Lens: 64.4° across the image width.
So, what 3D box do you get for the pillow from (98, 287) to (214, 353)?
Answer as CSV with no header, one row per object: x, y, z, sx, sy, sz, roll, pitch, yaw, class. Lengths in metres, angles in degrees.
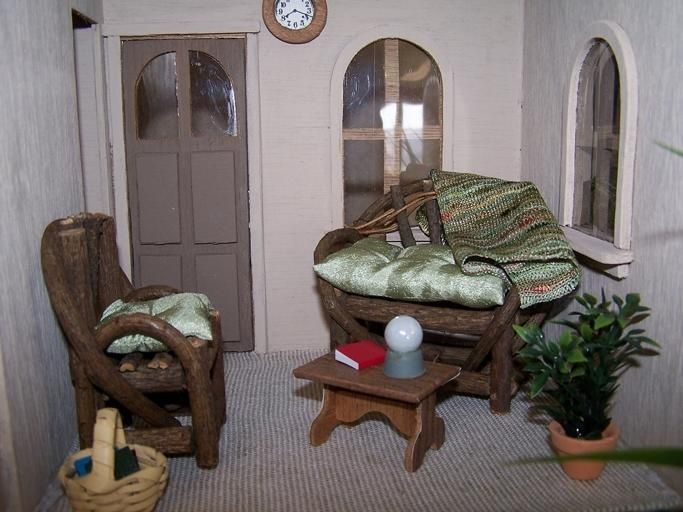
-0.927,0.330,2.865,0.393,0.108,0.394,1,12,-1,pillow

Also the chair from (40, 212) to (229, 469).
-1.081,0.412,2.915,0.819,1.252,0.844,-4,14,-9,chair

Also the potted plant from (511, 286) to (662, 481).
1.225,0.570,2.794,0.642,0.887,0.974,3,14,20,potted plant

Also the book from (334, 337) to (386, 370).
0.121,0.521,2.903,0.159,0.043,0.162,18,23,42,book

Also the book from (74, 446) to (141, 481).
-0.990,0.911,2.390,0.184,0.045,0.181,2,14,6,book
